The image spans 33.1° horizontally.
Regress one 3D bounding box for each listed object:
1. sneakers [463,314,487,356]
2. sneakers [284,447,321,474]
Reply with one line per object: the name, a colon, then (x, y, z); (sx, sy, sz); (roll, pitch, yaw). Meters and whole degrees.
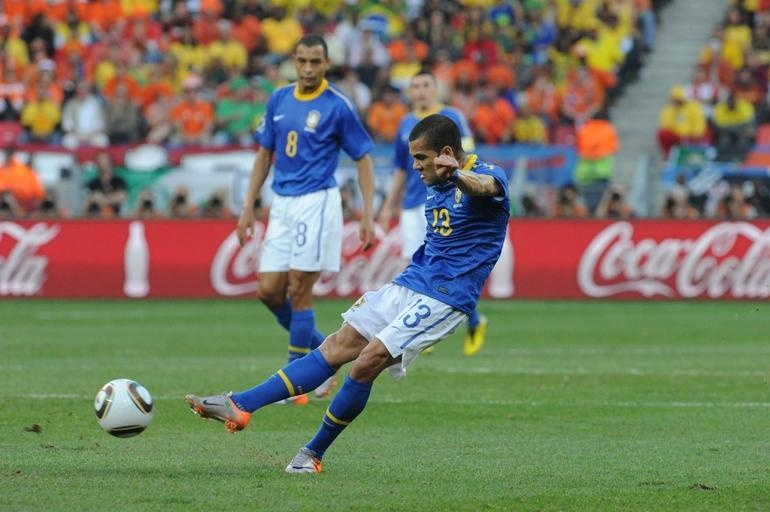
sneakers: (1.059, 1.010, 15.900); (0.209, 0.561, 0.248); (20, 13, 26)
sneakers: (-0.774, 1.962, 12.286); (0.181, 0.177, 0.335); (-1, -5, 17)
